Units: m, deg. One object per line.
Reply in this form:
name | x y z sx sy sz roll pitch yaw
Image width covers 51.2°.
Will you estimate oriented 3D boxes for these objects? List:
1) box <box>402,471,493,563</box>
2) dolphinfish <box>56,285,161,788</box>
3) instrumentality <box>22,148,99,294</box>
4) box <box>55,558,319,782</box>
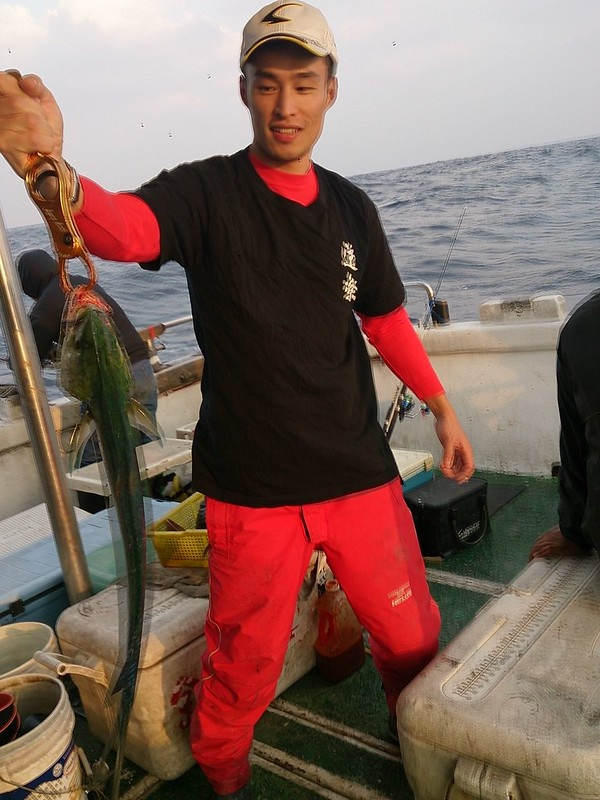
box | 0.874 0.680 3.726 0.531 0.334 0.382 -16 17 -39
dolphinfish | -0.348 0.242 1.219 0.156 0.793 0.144 1 9 3
instrumentality | -0.401 -0.292 1.059 0.075 0.219 0.182 -15 11 -15
box | -0.398 0.941 2.344 0.466 0.515 0.829 1 11 38
